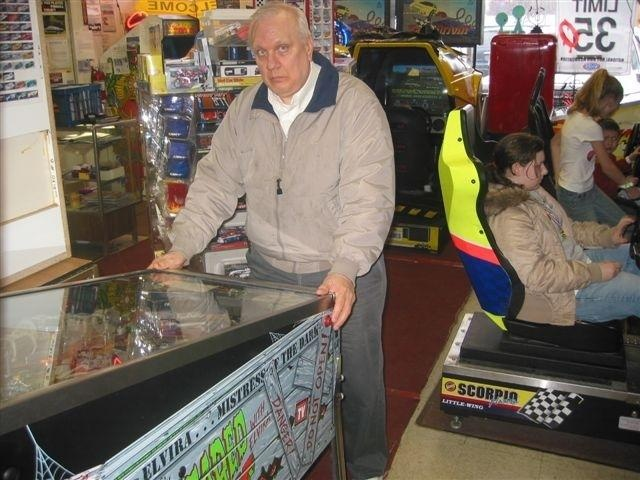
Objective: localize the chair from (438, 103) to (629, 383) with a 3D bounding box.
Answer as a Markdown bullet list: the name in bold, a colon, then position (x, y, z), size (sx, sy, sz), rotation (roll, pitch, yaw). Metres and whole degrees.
- **chair**: position (1.125, -0.125, 2.444), size (0.924, 1.232, 0.789), rotation (-7, 25, 4)

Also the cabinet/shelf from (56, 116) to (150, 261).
- **cabinet/shelf**: position (-2.444, -0.603, 5.173), size (0.908, 1.445, 0.614), rotation (-11, 19, -29)

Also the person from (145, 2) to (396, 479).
- **person**: position (-0.120, 0.171, 1.963), size (0.842, 2.222, 0.716), rotation (6, 18, 22)

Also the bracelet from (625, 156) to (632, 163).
- **bracelet**: position (3.384, -0.877, 4.968), size (0.059, 0.045, 0.058), rotation (-8, 19, -23)
